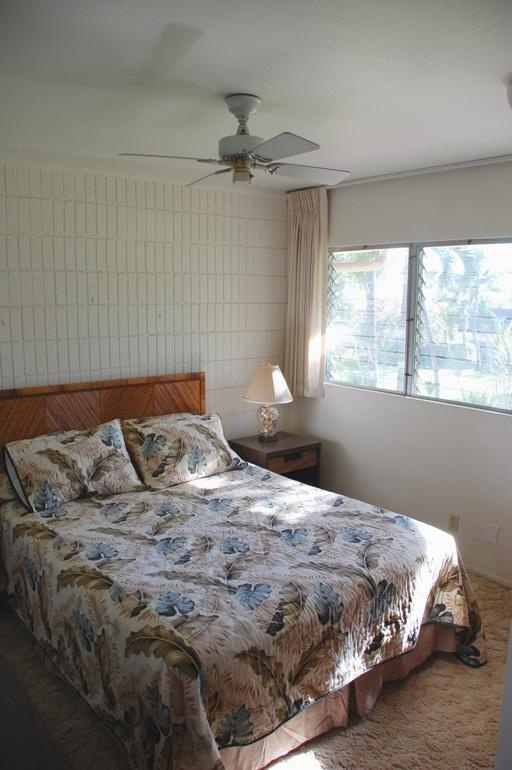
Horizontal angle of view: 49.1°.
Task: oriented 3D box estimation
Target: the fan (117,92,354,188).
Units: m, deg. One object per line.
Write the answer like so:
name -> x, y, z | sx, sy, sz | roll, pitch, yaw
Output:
fan -> -0.101, -1.110, 2.511 | 0.546, 0.204, 0.557 | 0, 1, 20

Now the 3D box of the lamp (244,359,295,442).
lamp -> 0.139, 0.091, 4.232 | 0.475, 0.749, 0.485 | 1, 11, 7

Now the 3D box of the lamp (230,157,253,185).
lamp -> -0.056, -0.874, 2.293 | 0.062, 0.085, 0.088 | -2, 3, -35

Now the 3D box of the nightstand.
nightstand -> 0.142, 0.477, 4.043 | 0.506, 0.493, 0.397 | -8, 12, -43

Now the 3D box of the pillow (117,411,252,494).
pillow -> -0.419, 0.379, 3.256 | 0.448, 0.146, 0.468 | -5, 22, -38
